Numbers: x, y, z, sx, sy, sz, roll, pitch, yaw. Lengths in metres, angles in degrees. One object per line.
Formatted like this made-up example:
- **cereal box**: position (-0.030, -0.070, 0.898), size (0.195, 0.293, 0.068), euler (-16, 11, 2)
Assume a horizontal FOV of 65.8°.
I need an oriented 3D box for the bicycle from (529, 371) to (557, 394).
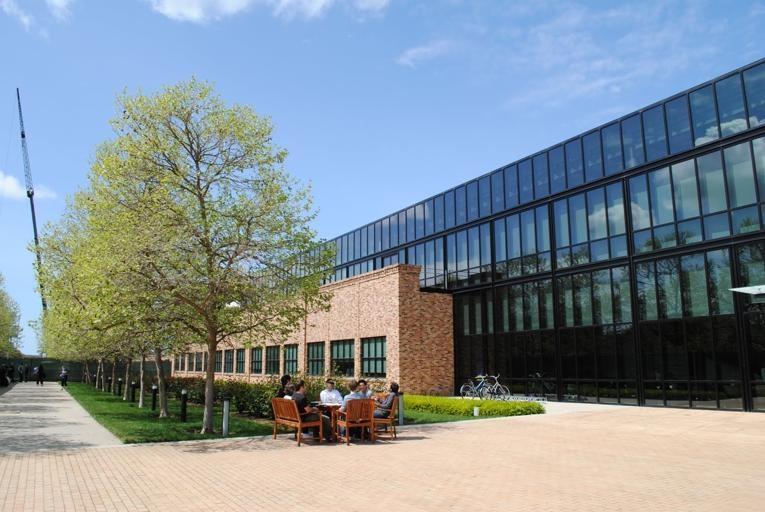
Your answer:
- **bicycle**: position (8.323, 6.625, 30.812), size (0.191, 1.184, 1.525), euler (3, -6, -35)
